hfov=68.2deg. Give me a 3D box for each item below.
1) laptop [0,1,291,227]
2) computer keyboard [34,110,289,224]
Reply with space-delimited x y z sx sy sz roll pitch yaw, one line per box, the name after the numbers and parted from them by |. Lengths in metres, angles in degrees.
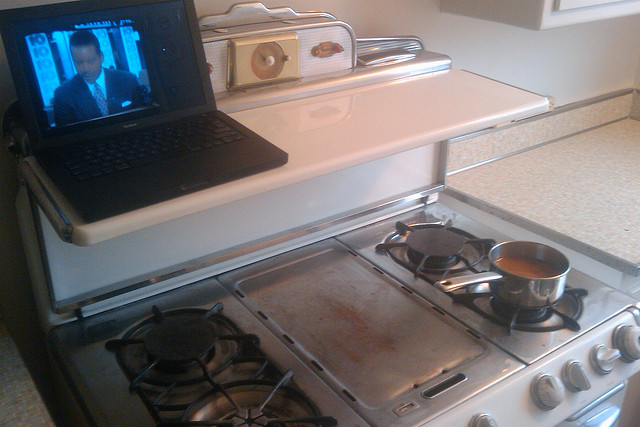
-0.359 -0.233 0.930 0.438 0.316 0.379 -21 37 -23 | laptop
-0.321 -0.112 0.962 0.410 0.068 0.252 -21 35 -25 | computer keyboard
